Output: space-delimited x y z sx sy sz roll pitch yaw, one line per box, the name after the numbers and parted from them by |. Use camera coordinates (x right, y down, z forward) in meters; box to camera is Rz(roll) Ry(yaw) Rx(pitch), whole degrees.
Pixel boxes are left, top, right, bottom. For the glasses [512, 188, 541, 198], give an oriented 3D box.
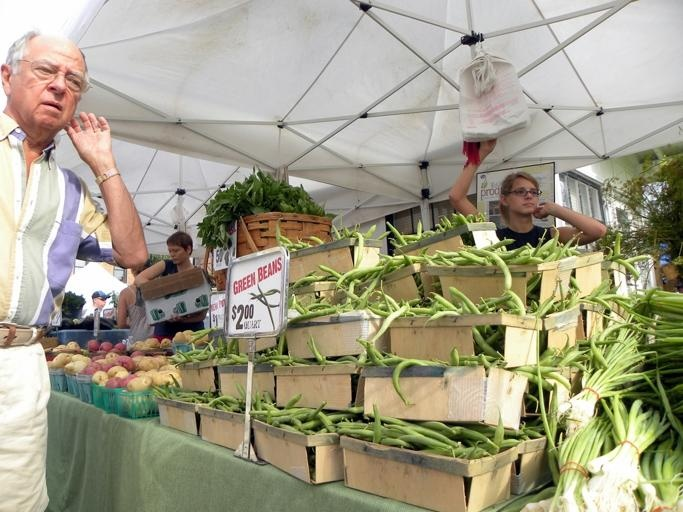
1.321 -0.449 3.807 0.190 0.070 0.075 0 -10 -12 | glasses

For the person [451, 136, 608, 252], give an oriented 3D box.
1.339 -0.372 3.872 1.226 0.755 0.690 2 1 32 | person

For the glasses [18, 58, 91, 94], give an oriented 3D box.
-1.469 -0.929 2.817 0.147 0.152 0.355 -10 -13 36 | glasses
